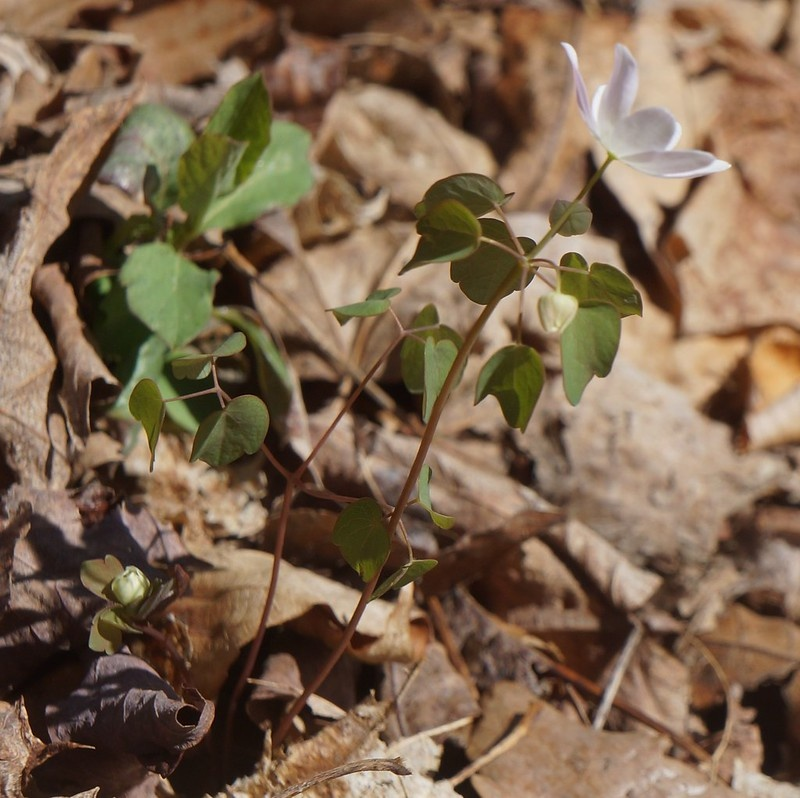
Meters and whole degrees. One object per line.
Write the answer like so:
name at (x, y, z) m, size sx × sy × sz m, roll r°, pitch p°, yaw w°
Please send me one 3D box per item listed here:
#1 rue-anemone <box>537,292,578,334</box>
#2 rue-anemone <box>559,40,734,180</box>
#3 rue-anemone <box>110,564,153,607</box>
rue-anemone at (0.226, -0.125, 1.815) m, size 0.048 × 0.058 × 0.061 m, roll 2°, pitch 79°, yaw -2°
rue-anemone at (0.353, -0.382, 1.837) m, size 0.242 × 0.214 × 0.104 m, roll 42°, pitch 80°, yaw 16°
rue-anemone at (-0.419, 0.295, 1.987) m, size 0.045 × 0.062 × 0.063 m, roll 2°, pitch 70°, yaw 5°
